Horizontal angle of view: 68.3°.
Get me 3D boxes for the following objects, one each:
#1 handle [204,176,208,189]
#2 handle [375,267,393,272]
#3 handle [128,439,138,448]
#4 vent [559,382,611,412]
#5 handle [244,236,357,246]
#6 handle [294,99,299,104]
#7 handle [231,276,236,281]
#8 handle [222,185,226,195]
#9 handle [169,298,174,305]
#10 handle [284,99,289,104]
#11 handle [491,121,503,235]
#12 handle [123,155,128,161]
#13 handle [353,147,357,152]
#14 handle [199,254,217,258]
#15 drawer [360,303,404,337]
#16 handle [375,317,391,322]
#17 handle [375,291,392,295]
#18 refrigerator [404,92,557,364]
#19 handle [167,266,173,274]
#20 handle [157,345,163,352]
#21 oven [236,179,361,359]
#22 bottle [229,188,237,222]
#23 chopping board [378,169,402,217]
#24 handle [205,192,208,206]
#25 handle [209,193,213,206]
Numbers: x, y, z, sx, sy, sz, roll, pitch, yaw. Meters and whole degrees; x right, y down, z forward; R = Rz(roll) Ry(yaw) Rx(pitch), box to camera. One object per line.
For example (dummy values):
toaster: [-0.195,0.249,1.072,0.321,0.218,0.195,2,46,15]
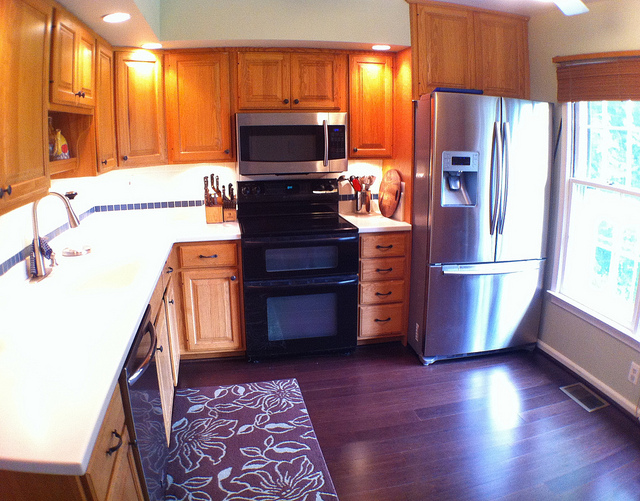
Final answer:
handle: [-0.896,-0.530,3.701,0.029,0.094,0.156,-6,15,-13]
handle: [0.503,0.149,3.650,0.132,0.032,0.008,-5,14,-10]
handle: [-0.714,0.734,1.794,0.028,0.020,0.024,0,2,-18]
vent: [1.790,0.983,3.178,0.195,0.023,0.261,-7,16,-17]
handle: [-0.130,-0.064,3.433,0.820,0.066,0.020,-5,14,-9]
handle: [-0.177,-1.140,3.625,0.025,0.027,0.025,-5,10,-35]
handle: [-0.633,0.206,3.448,0.032,0.038,0.014,-2,14,1]
handle: [-0.769,-0.483,3.759,0.017,0.072,0.082,-5,15,-11]
handle: [-0.974,0.337,3.089,0.031,0.020,0.021,-1,2,-32]
handle: [-0.256,-1.137,3.606,0.026,0.028,0.027,2,43,-6]
handle: [1.255,-0.500,3.320,0.063,0.779,0.078,1,14,13]
handle: [-1.315,-0.622,3.183,0.008,0.039,0.042,1,15,11]
handle: [0.284,-0.803,3.785,0.031,0.031,0.008,-8,15,-20]
handle: [-0.801,0.044,3.381,0.124,0.032,0.011,-6,14,-13]
drawer: [0.494,0.553,3.744,0.368,0.237,0.241,-2,5,-16]
handle: [0.507,0.552,3.743,0.052,0.017,0.055,1,4,-6]
handle: [0.506,0.338,3.692,0.130,0.028,0.009,-5,14,-11]
refrigerator: [1.212,-0.150,3.531,1.015,1.984,0.319,-4,14,-9]
handle: [-0.993,0.131,3.119,0.024,0.038,0.014,3,-6,5]
handle: [-0.835,0.517,2.478,0.038,0.025,0.035,-2,27,-6]
oven: [-0.200,0.106,3.843,1.081,1.350,1.122,5,16,21]
bottle: [-0.684,-0.366,3.745,0.045,0.257,0.121,0,14,11]
chopping board: [0.578,-0.454,3.831,0.040,0.418,0.391,3,3,-11]
handle: [-0.884,-0.397,3.675,0.023,0.093,0.056,-6,14,-13]
handle: [-0.858,-0.395,3.699,0.022,0.098,0.028,-2,-4,-13]
